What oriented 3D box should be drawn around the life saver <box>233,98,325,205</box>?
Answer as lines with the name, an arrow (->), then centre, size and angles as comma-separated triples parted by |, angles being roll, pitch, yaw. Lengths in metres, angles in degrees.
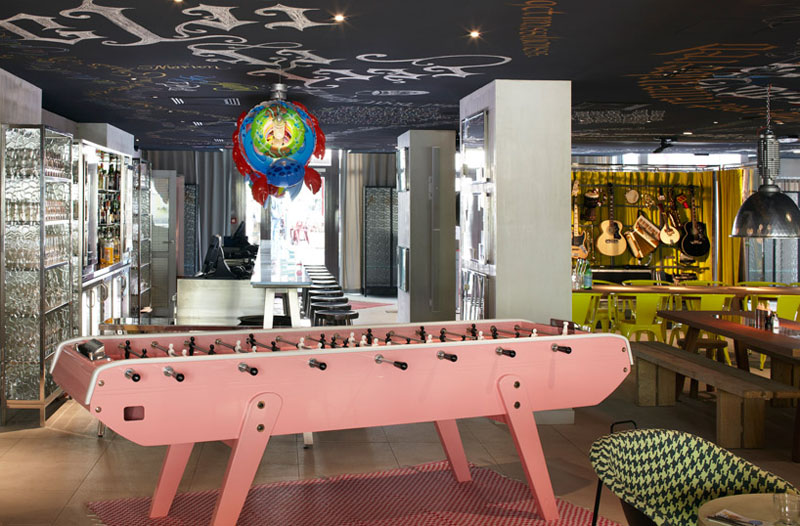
life saver -> -1.096, -0.937, 5.146 | 0.996, 0.947, 0.441 | -8, 4, -10

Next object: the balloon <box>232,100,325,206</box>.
balloon -> -1.120, -1.040, 5.052 | 0.794, 0.982, 0.669 | -1, 6, -16
